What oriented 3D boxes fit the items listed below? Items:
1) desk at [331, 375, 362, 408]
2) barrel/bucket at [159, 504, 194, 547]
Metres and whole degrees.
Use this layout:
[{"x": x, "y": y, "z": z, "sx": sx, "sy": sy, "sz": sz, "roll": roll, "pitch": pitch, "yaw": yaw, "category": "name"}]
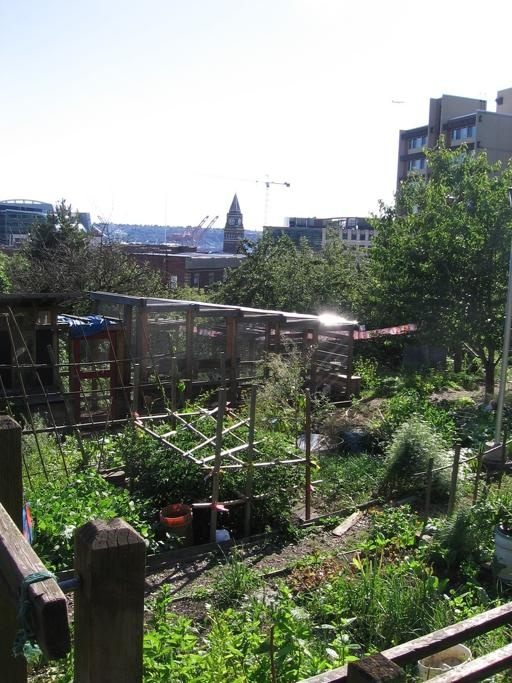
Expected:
[{"x": 2.376, "y": 1.349, "z": 16.001, "sx": 0.353, "sy": 0.661, "sz": 0.662, "roll": -7, "pitch": 13, "yaw": -34, "category": "desk"}, {"x": -0.909, "y": 2.109, "z": 7.088, "sx": 0.424, "sy": 0.483, "sz": 0.423, "roll": 0, "pitch": 10, "yaw": 0, "category": "barrel/bucket"}]
